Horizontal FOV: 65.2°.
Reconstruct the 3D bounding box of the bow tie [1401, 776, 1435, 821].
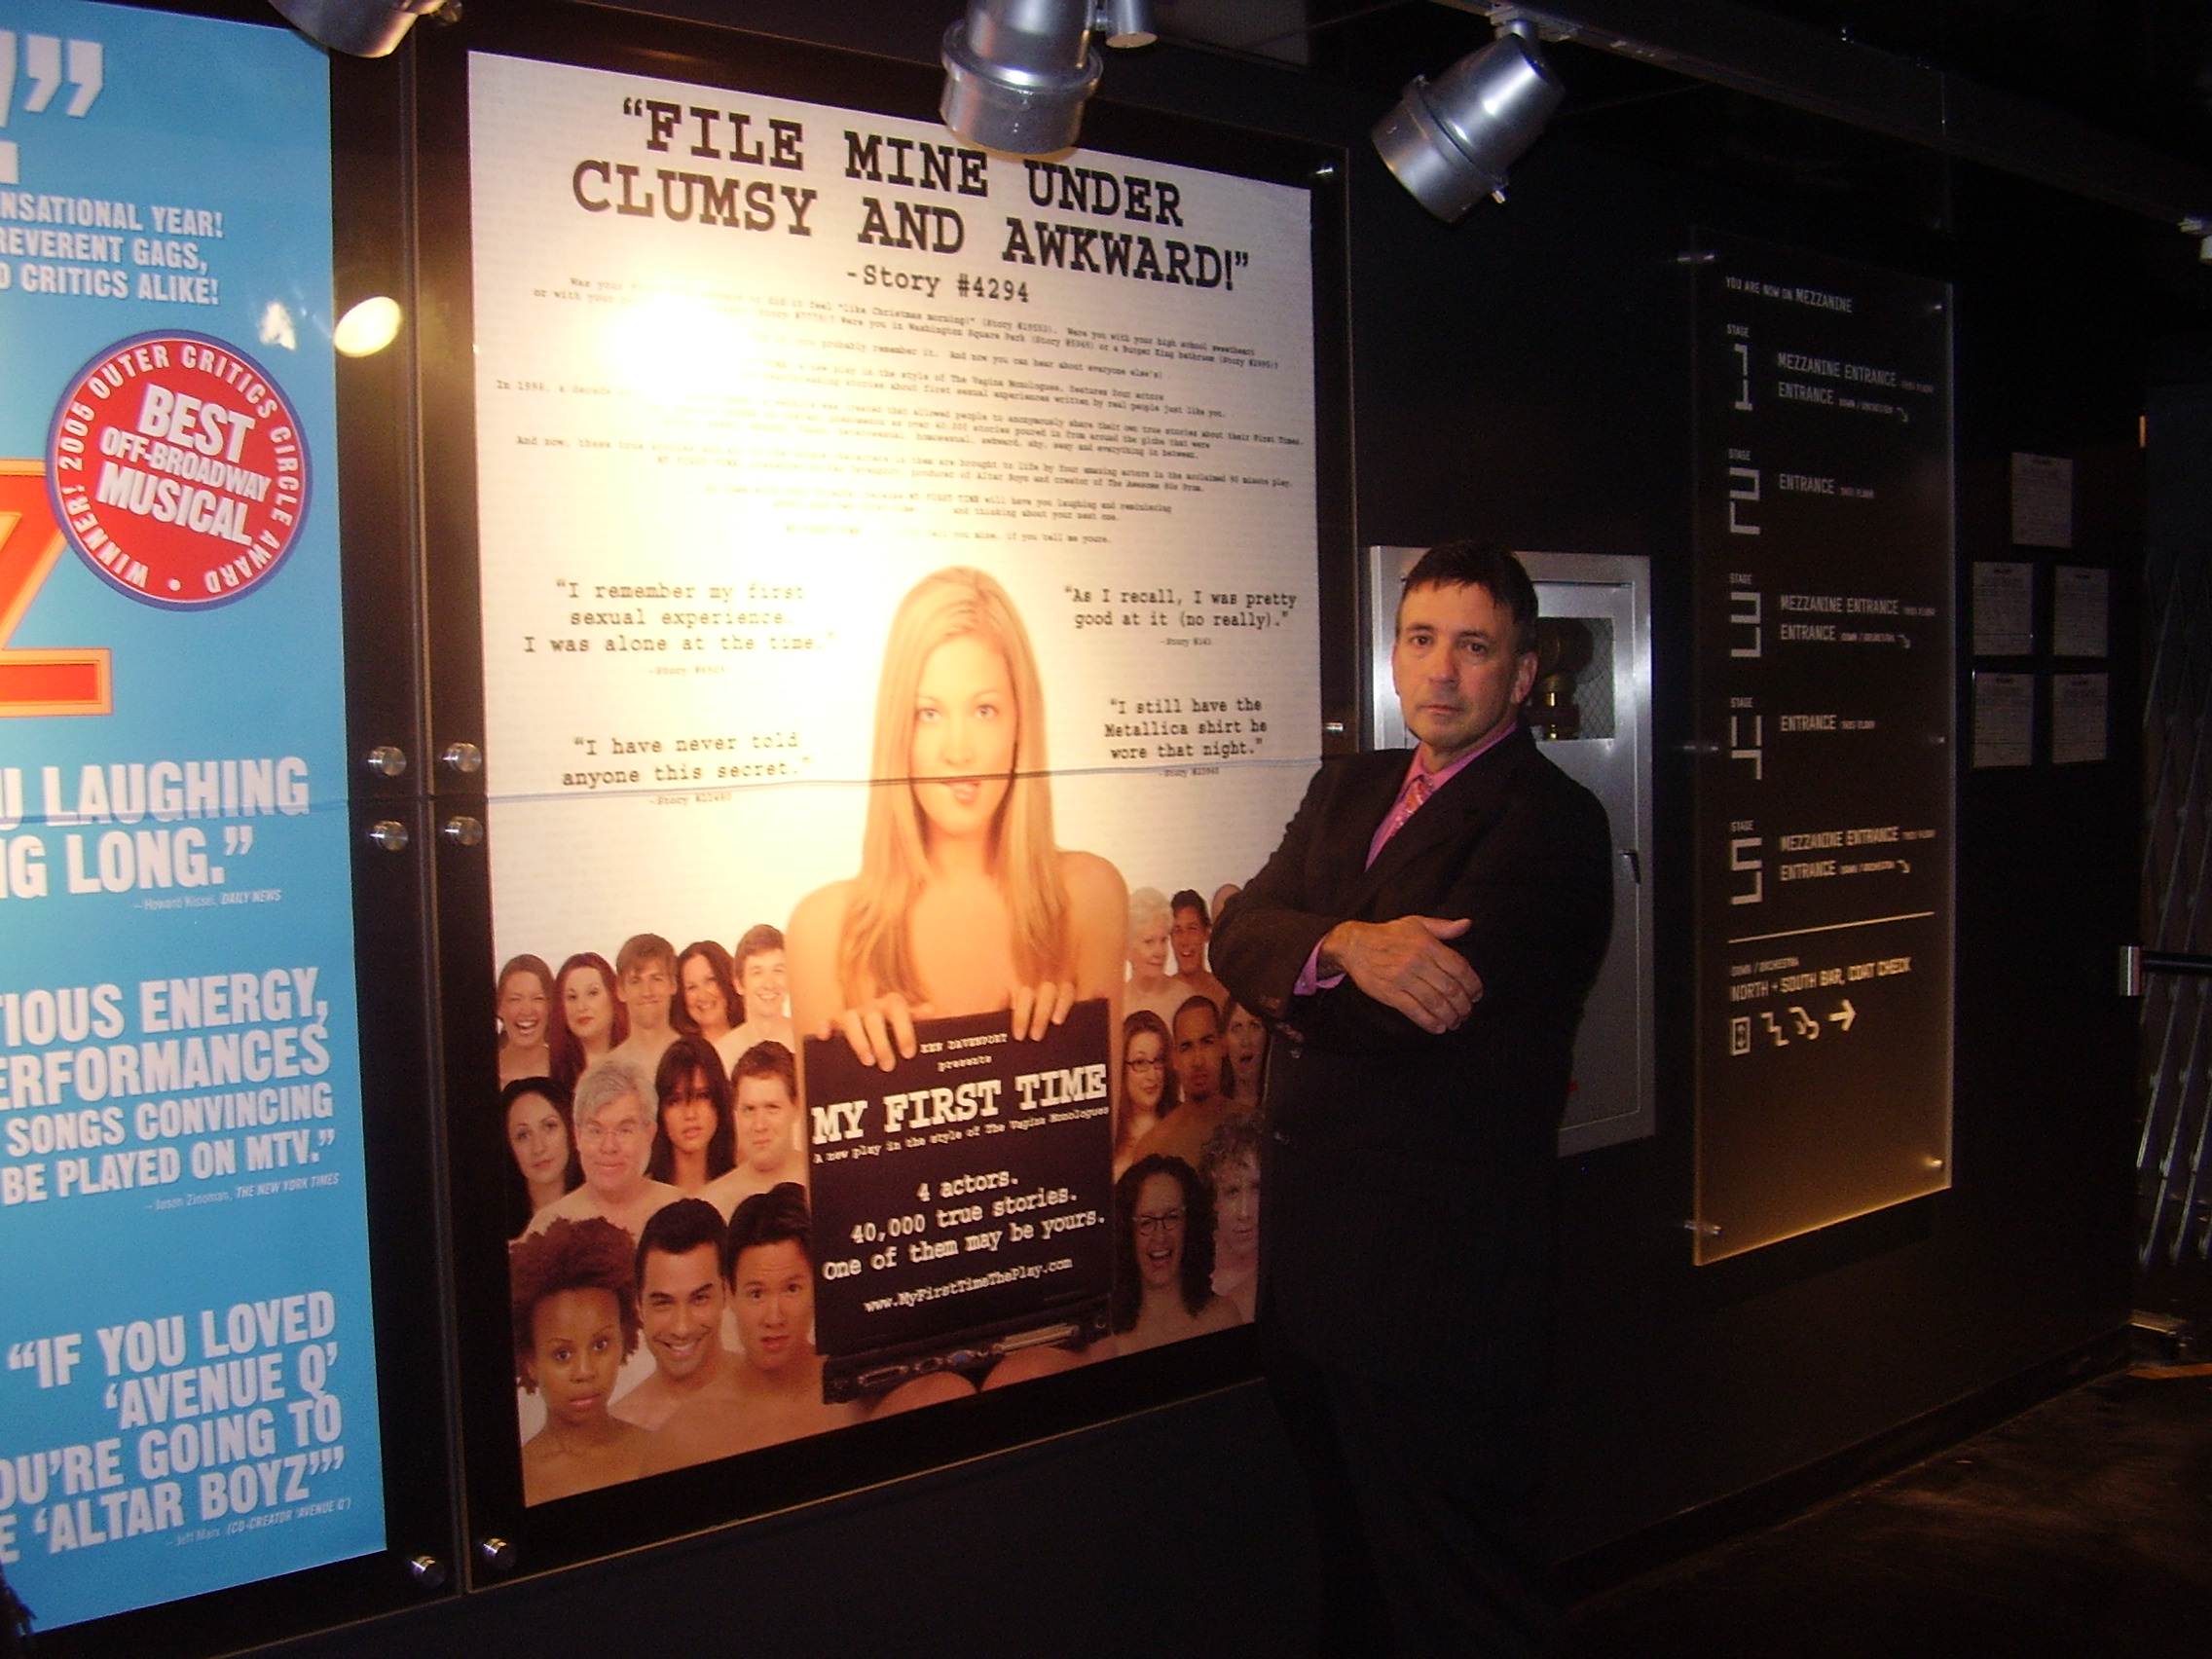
[{"bbox_3d":[0.541,-0.051,3.001,0.021,0.061,0.045,39,-20,-16],"label":"bow tie"}]
